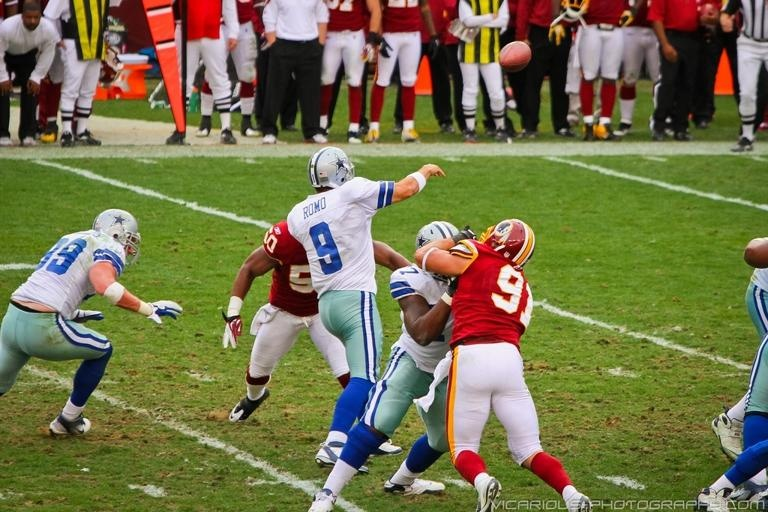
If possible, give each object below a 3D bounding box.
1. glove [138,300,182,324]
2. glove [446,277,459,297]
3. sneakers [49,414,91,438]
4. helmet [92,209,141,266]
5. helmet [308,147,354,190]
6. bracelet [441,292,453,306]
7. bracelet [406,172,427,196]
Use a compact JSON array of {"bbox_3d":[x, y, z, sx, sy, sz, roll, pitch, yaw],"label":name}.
[{"bbox_3d":[-1.917,0.460,9.976,0.127,0.201,0.300,35,20,33],"label":"glove"},{"bbox_3d":[0.539,0.230,9.170,0.090,0.128,0.039,17,2,41],"label":"glove"},{"bbox_3d":[-2.625,1.402,9.941,0.362,0.163,0.147,0,49,-28],"label":"sneakers"},{"bbox_3d":[-2.285,-0.178,10.222,0.509,0.512,0.399,8,4,-25],"label":"helmet"},{"bbox_3d":[-0.396,-0.747,9.839,0.384,0.314,0.280,-21,29,-19],"label":"helmet"},{"bbox_3d":[0.489,0.329,9.201,0.085,0.063,0.085,34,5,-8],"label":"bracelet"},{"bbox_3d":[0.289,-0.611,10.012,0.181,0.185,0.167,-6,0,-36],"label":"bracelet"}]
